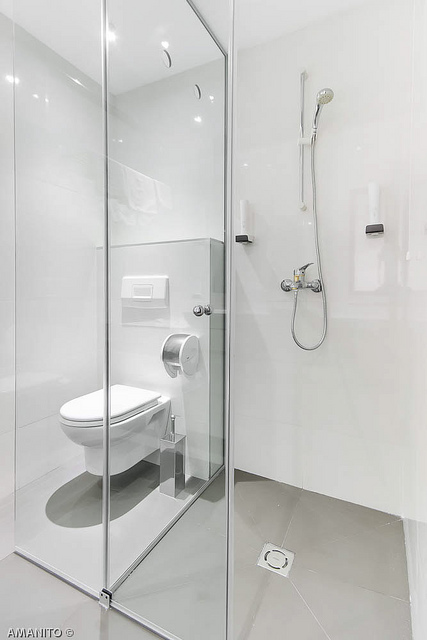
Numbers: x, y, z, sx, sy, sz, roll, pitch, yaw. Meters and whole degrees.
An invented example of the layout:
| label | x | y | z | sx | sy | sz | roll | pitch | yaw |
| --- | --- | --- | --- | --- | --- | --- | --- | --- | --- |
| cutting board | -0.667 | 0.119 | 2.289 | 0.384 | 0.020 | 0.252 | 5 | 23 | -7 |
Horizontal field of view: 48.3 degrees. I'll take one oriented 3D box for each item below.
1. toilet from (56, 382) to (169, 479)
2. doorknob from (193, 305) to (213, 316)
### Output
| label | x | y | z | sx | sy | sz | roll | pitch | yaw |
| --- | --- | --- | --- | --- | --- | --- | --- | --- | --- |
| toilet | -0.355 | 0.327 | 1.658 | 0.267 | 0.311 | 0.351 | 2 | 3 | 30 |
| doorknob | -0.035 | -0.030 | 1.484 | 0.042 | 0.039 | 0.018 | 1 | 8 | 14 |
